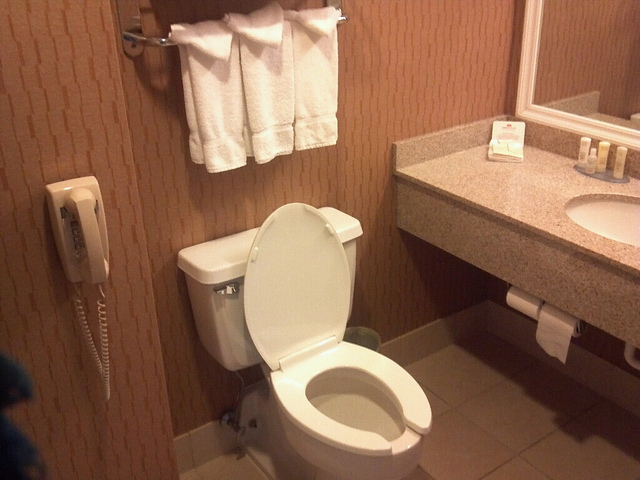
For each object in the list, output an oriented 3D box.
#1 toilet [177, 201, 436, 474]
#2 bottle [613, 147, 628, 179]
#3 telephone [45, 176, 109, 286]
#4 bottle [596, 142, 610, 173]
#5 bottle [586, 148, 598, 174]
[{"bbox_3d":[-0.094,0.368,1.946,0.554,0.842,0.734,-21,36,-33],"label":"toilet"},{"bbox_3d":[1.185,-0.304,2.058,0.036,0.116,0.051,8,32,20],"label":"bottle"},{"bbox_3d":[-0.610,0.002,1.351,0.142,0.292,0.128,-20,34,-26],"label":"telephone"},{"bbox_3d":[1.151,-0.337,2.118,0.048,0.119,0.053,-3,30,1],"label":"bottle"},{"bbox_3d":[1.109,-0.320,2.123,0.042,0.092,0.042,-3,30,1],"label":"bottle"}]
